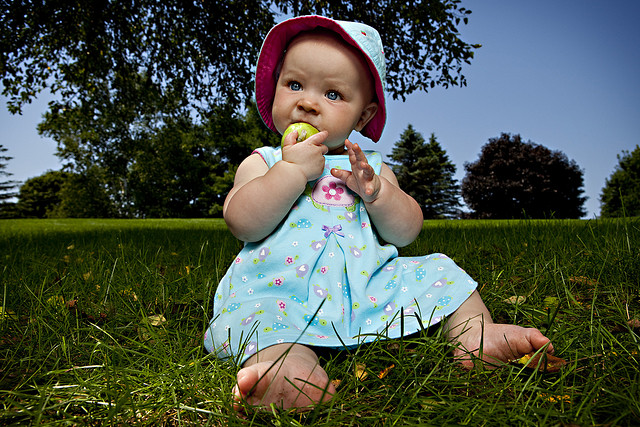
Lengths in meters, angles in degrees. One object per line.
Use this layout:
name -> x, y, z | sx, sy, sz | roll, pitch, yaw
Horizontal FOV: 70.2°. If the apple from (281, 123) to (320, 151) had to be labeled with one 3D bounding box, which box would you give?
apple -> -0.115, -0.598, 3.269 | 0.167, 0.178, 0.196 | 39, -1, 39
